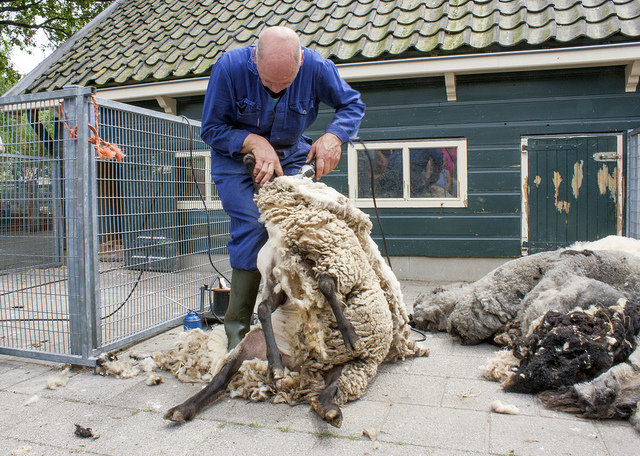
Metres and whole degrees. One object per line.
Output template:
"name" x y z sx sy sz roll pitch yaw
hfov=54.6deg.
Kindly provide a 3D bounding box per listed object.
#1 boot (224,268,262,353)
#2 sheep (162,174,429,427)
"boot" -0.712 0.754 5.538 0.208 0.690 0.219 1 16 -31
"sheep" 0.102 0.493 4.799 1.197 1.804 0.830 0 4 -7
